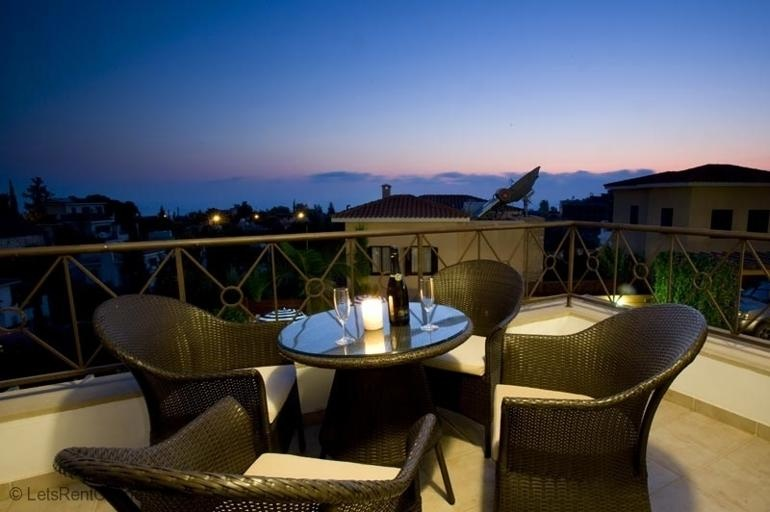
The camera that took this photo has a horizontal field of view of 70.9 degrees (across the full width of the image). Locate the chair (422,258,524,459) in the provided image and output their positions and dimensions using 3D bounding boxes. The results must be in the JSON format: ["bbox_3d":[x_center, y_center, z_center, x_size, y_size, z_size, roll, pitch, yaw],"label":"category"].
[{"bbox_3d":[0.674,0.768,4.776,0.997,1.172,1.042,-1,15,2],"label":"chair"}]

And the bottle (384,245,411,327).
[{"bbox_3d":[0.104,0.226,4.390,0.182,0.627,0.373,-2,11,2],"label":"bottle"}]

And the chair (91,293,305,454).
[{"bbox_3d":[-1.452,1.014,4.341,1.503,1.282,1.278,0,13,-21],"label":"chair"}]

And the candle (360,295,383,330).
[{"bbox_3d":[-0.097,0.449,4.316,0.169,0.249,0.182,-3,11,-4],"label":"candle"}]

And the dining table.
[{"bbox_3d":[-0.135,1.138,4.801,1.601,1.154,1.564,-1,5,-5],"label":"dining table"}]
